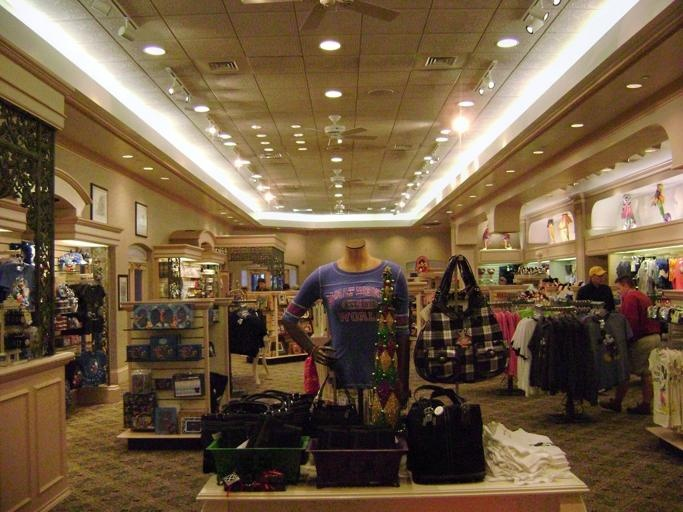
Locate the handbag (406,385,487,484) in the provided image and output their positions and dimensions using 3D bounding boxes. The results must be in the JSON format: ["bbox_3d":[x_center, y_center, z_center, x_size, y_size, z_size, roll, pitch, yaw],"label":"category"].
[{"bbox_3d":[0.559,0.948,2.627,0.436,0.432,0.335,0,4,4],"label":"handbag"}]

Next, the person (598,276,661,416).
[{"bbox_3d":[4.037,1.271,6.743,0.604,1.852,1.423,2,4,32],"label":"person"}]

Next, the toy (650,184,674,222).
[{"bbox_3d":[7.633,-1.281,11.655,0.249,0.879,0.790,1,4,17],"label":"toy"}]

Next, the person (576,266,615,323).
[{"bbox_3d":[4.366,0.637,8.307,0.699,0.965,0.529,0,-12,0],"label":"person"}]

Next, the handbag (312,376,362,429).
[{"bbox_3d":[-0.036,0.842,3.082,0.250,0.220,0.276,-11,-6,30],"label":"handbag"}]

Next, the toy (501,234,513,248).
[{"bbox_3d":[6.330,-0.575,18.694,0.344,0.530,0.642,1,3,17],"label":"toy"}]

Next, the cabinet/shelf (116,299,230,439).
[{"bbox_3d":[-1.955,1.284,5.826,1.089,1.584,0.853,0,4,6],"label":"cabinet/shelf"}]

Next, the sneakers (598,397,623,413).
[{"bbox_3d":[3.720,2.034,6.759,0.211,0.186,0.359,-1,3,-8],"label":"sneakers"}]

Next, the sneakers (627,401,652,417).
[{"bbox_3d":[3.963,1.999,6.465,0.297,0.200,0.205,1,3,15],"label":"sneakers"}]

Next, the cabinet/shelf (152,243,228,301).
[{"bbox_3d":[-3.900,0.485,12.628,0.838,1.618,3.707,0,3,-1],"label":"cabinet/shelf"}]

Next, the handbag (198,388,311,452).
[{"bbox_3d":[-0.457,0.947,2.845,0.423,0.210,0.547,-1,-10,1],"label":"handbag"}]

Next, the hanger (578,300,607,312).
[{"bbox_3d":[3.288,0.663,6.454,0.230,0.094,0.190,0,-1,-6],"label":"hanger"}]

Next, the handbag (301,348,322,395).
[{"bbox_3d":[-0.199,0.775,3.175,0.105,0.316,0.106,-1,-12,6],"label":"handbag"}]

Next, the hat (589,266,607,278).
[{"bbox_3d":[5.005,0.312,9.513,0.351,0.182,0.273,-14,-3,40],"label":"hat"}]

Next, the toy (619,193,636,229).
[{"bbox_3d":[7.638,-1.209,13.060,0.225,0.887,0.746,1,4,12],"label":"toy"}]

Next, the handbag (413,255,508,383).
[{"bbox_3d":[0.769,0.405,3.167,0.580,0.801,0.195,0,4,5],"label":"handbag"}]

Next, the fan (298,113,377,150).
[{"bbox_3d":[-0.132,-2.338,9.234,0.967,0.340,0.983,-6,-8,33],"label":"fan"}]
